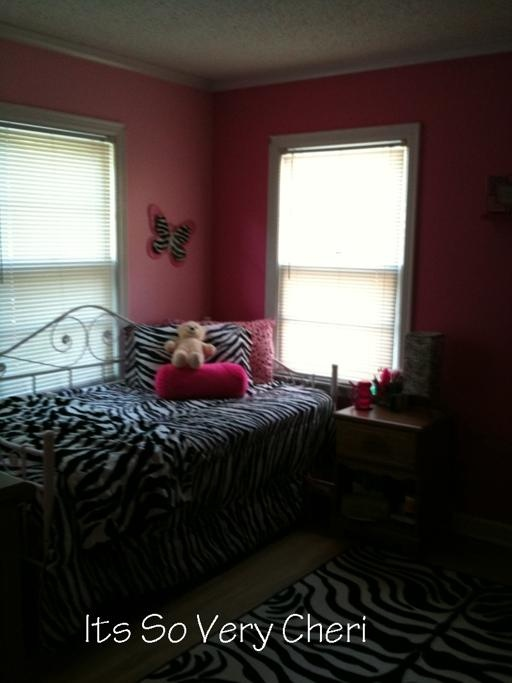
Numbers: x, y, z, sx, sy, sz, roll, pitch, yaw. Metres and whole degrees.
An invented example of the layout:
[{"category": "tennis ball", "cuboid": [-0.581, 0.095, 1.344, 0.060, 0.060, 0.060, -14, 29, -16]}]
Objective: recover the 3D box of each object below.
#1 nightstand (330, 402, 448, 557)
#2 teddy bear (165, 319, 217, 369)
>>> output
[{"category": "nightstand", "cuboid": [0.663, 0.589, 2.722, 0.514, 0.661, 0.494, 4, 7, 28]}, {"category": "teddy bear", "cuboid": [-0.337, 0.014, 2.845, 0.277, 0.208, 0.388, 3, 34, -3]}]
